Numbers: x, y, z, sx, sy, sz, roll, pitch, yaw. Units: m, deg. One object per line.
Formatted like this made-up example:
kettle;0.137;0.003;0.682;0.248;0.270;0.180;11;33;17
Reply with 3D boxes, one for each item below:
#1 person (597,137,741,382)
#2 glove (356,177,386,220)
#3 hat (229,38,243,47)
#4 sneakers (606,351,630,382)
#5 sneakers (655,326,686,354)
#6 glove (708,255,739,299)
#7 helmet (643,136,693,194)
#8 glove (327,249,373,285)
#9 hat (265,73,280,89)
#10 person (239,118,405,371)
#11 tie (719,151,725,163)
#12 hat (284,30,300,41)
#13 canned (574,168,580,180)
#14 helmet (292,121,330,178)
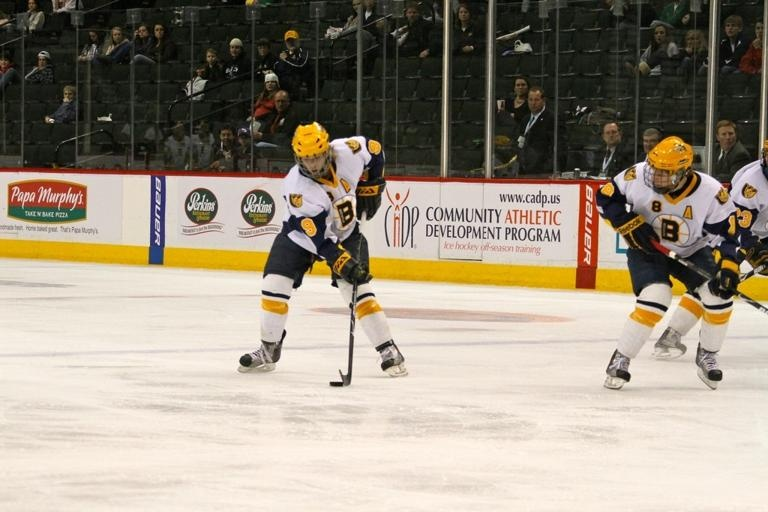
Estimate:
person;1.989;0.039;8.273;0.993;1.741;0.532;2;5;8
glove;-0.085;-0.432;8.754;0.126;0.287;0.220;18;13;33
hat;-1.760;-2.534;13.914;0.115;0.069;0.109;1;13;0
sneakers;1.638;0.751;8.180;0.157;0.213;0.132;1;5;2
sneakers;2.184;0.655;9.160;0.274;0.249;0.158;6;1;-3
glove;2.375;0.141;8.208;0.285;0.261;0.116;6;3;-22
helmet;2.002;-0.660;8.193;0.363;0.316;0.271;-21;34;-28
glove;-0.232;0.077;8.314;0.265;0.112;0.258;39;-26;-8
hat;-1.308;-2.065;13.723;0.156;0.170;0.158;-6;-15;-7
person;-0.434;-0.063;8.488;1.124;1.789;0.566;1;5;-8
tie;3.394;-1.000;11.764;0.025;0.109;0.033;10;-8;26
hat;-1.082;-2.558;13.603;0.116;0.075;0.160;-2;4;8
canned;2.026;-0.875;12.286;0.066;0.110;0.035;2;5;12
helmet;-0.504;-0.787;8.281;0.293;0.355;0.354;-7;-25;6
